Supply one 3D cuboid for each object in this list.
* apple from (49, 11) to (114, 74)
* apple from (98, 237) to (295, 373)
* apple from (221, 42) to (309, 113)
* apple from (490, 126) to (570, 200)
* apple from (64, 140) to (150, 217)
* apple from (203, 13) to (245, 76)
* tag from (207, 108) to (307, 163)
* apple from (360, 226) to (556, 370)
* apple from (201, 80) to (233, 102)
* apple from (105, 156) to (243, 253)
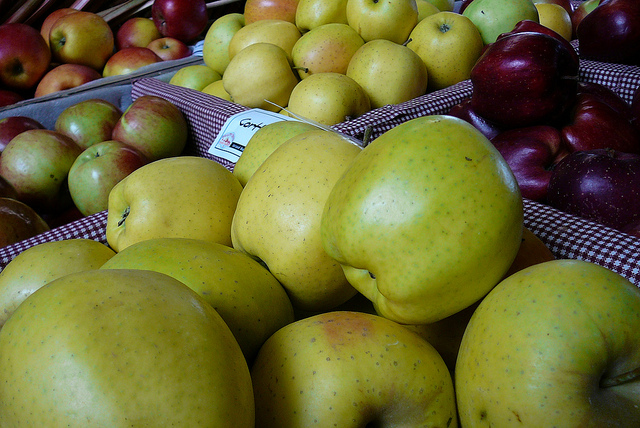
[{"bbox_3d":[-1.208,-0.814,2.831,0.273,0.275,0.318,-14,75,36],"label":"apple"},{"bbox_3d":[-0.257,0.129,1.200,0.334,0.298,0.322,-3,48,-25],"label":"apple"},{"bbox_3d":[-0.244,-0.584,2.160,0.243,0.311,0.263,24,33,22],"label":"apple"},{"bbox_3d":[0.592,-0.155,1.630,0.217,0.217,0.241,2,70,11],"label":"apple"},{"bbox_3d":[-0.729,-0.133,1.859,0.213,0.127,0.272,24,72,23],"label":"apple"},{"bbox_3d":[-0.485,-0.768,2.538,0.161,0.161,0.219,7,104,46],"label":"apple"},{"bbox_3d":[-0.255,-0.280,1.884,0.211,0.111,0.220,33,33,13],"label":"tag"},{"bbox_3d":[0.329,0.195,1.204,0.303,0.319,0.329,-21,22,41],"label":"apple"},{"bbox_3d":[-0.409,-0.492,2.238,0.079,0.094,0.088,-35,53,36],"label":"apple"},{"bbox_3d":[-0.359,0.015,1.422,0.262,0.317,0.297,-25,63,45],"label":"apple"}]
